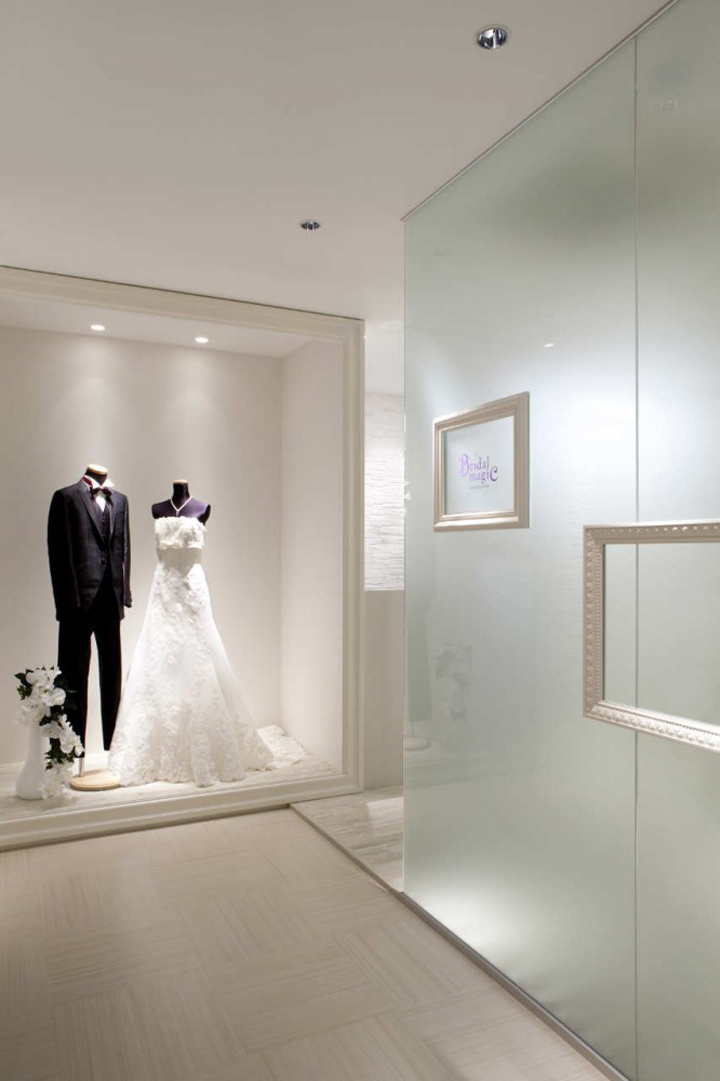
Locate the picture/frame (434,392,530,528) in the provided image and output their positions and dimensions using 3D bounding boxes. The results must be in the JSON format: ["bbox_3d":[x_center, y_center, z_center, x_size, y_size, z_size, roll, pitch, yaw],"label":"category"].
[{"bbox_3d":[0.370,-0.238,2.207,0.026,0.371,0.382,0,-1,-23],"label":"picture/frame"}]

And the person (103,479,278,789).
[{"bbox_3d":[-0.893,0.442,3.866,0.745,1.534,0.509,1,-2,-9],"label":"person"}]

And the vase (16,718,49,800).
[{"bbox_3d":[-1.498,0.994,3.376,0.131,0.355,0.110,1,-2,-21],"label":"vase"}]

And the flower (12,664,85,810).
[{"bbox_3d":[-1.450,0.785,3.412,0.208,0.378,0.222,-29,-15,36],"label":"flower"}]

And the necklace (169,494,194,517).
[{"bbox_3d":[-0.989,-0.184,4.075,0.091,0.140,0.068,1,8,7],"label":"necklace"}]
